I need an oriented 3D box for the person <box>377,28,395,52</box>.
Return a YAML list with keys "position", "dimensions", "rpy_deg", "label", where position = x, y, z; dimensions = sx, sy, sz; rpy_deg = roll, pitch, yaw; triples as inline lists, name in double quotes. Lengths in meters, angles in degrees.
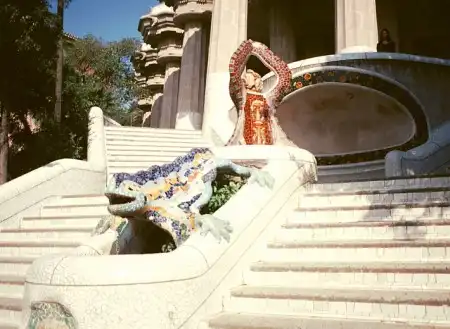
- position: [5.425, -4.155, 16.042]
  dimensions: [0.477, 0.964, 0.679]
  rpy_deg: [1, -1, -29]
  label: "person"
